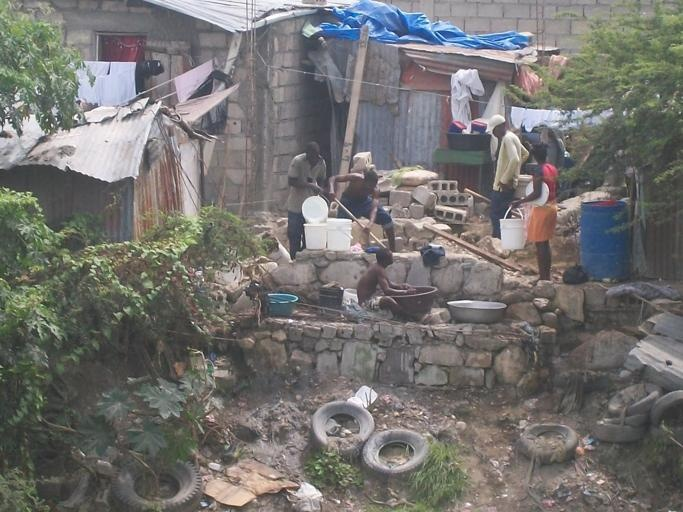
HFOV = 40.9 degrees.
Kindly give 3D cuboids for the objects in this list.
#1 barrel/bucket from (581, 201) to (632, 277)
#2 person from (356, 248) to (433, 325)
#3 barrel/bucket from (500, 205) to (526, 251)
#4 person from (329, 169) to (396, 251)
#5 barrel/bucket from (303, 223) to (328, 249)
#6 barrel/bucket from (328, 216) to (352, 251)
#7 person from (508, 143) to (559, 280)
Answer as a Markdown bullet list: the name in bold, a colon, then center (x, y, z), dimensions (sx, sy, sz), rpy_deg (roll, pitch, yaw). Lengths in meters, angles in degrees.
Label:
- **barrel/bucket**: center (3.891, -0.335, 13.602), dimensions (0.681, 1.167, 0.721), rpy_deg (-7, 20, 3)
- **person**: center (0.799, 0.354, 13.312), dimensions (1.120, 1.070, 0.875), rpy_deg (0, 5, 3)
- **barrel/bucket**: center (2.584, -0.467, 13.929), dimensions (0.375, 0.700, 0.435), rpy_deg (2, 8, 38)
- **person**: center (0.388, -0.768, 14.285), dimensions (1.069, 1.504, 0.775), rpy_deg (5, 35, 8)
- **barrel/bucket**: center (-0.394, -0.329, 13.824), dimensions (0.336, 0.307, 0.339), rpy_deg (1, 5, 0)
- **barrel/bucket**: center (-0.028, -0.373, 13.905), dimensions (0.445, 0.506, 0.494), rpy_deg (3, 17, 9)
- **person**: center (2.855, -0.658, 13.395), dimensions (0.540, 2.004, 0.401), rpy_deg (2, 9, 6)
